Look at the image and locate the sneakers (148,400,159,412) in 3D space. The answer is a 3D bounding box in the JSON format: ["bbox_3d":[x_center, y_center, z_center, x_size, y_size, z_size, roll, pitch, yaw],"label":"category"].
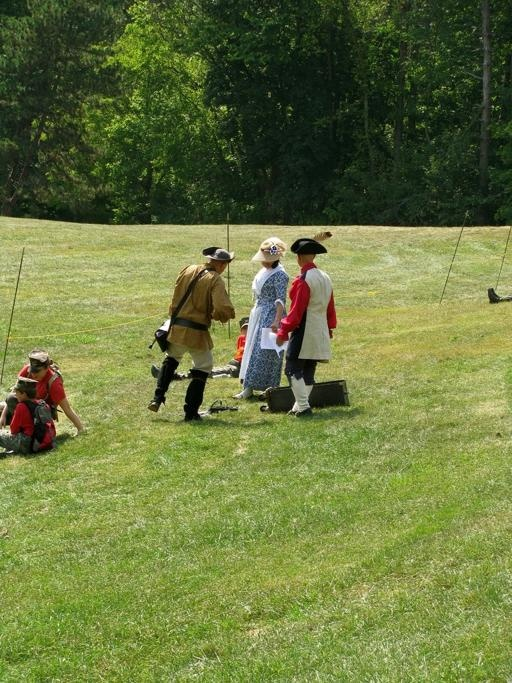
[{"bbox_3d":[-0.983,0.610,10.731,0.126,0.123,0.076,8,4,-13],"label":"sneakers"}]

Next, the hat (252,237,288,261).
[{"bbox_3d":[0.151,-0.927,11.165,0.223,0.153,0.319,6,10,39],"label":"hat"}]

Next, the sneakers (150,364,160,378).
[{"bbox_3d":[-1.181,0.337,13.120,0.096,0.128,0.052,5,26,19],"label":"sneakers"}]

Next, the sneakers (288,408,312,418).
[{"bbox_3d":[0.415,0.686,10.866,0.232,0.097,0.087,3,1,40],"label":"sneakers"}]

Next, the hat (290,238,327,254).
[{"bbox_3d":[0.491,-0.916,10.809,0.304,0.157,0.402,-2,10,8],"label":"hat"}]

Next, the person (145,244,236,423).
[{"bbox_3d":[-0.619,-0.030,10.702,0.873,1.636,0.722,-4,10,1],"label":"person"}]

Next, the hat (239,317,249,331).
[{"bbox_3d":[-0.149,-0.229,14.030,0.129,0.196,0.069,-8,31,-10],"label":"hat"}]

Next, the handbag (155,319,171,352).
[{"bbox_3d":[-0.838,-0.064,10.789,0.121,0.278,0.216,4,-1,-28],"label":"handbag"}]

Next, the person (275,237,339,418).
[{"bbox_3d":[0.469,-0.142,10.829,0.556,1.684,0.608,-3,10,5],"label":"person"}]
